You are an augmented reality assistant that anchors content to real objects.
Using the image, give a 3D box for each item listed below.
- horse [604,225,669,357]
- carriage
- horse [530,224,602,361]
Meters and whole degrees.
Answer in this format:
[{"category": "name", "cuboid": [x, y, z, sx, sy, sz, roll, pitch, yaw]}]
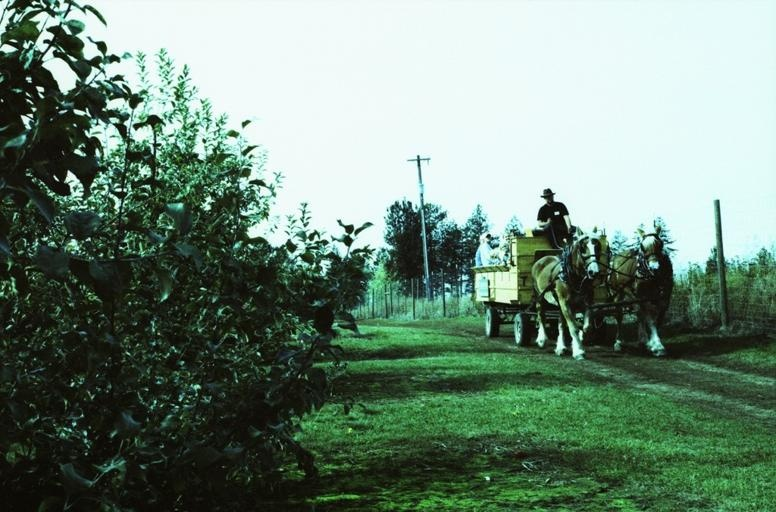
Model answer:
[{"category": "horse", "cuboid": [4.338, 0.566, 15.228, 1.039, 2.174, 2.523, 1, 4, 14]}, {"category": "carriage", "cuboid": [3.319, 0.735, 15.422, 2.060, 2.186, 7.442, 1, 0, 0]}, {"category": "horse", "cuboid": [3.018, 0.684, 14.918, 0.951, 2.156, 2.764, 1, 4, 3]}]
